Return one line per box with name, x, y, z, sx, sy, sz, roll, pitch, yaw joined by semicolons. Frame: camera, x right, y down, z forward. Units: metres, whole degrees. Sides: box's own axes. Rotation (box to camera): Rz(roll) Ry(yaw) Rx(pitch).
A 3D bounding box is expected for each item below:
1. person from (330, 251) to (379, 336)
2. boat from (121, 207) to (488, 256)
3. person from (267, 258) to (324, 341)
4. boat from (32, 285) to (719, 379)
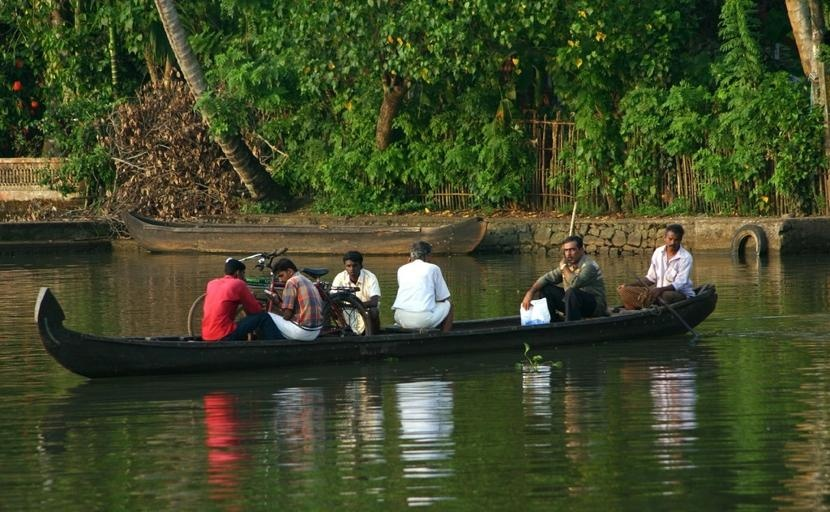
person;-1.234;0.810;38.378;1.108;1.779;0.998;5;20;11
boat;-2.733;-0.628;50.561;9.862;1.222;1.550;-1;1;9
person;-2.491;1.159;37.934;1.335;2.058;1.032;5;6;32
boat;-1.116;1.258;37.739;12.733;1.763;0.699;-2;-5;-9
